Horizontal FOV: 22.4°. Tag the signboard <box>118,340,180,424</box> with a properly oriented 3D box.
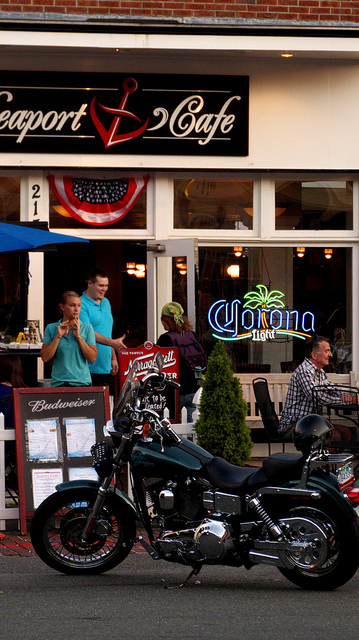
[{"bbox_3d":[-0.244,0.531,7.643,0.530,0.795,0.051,1,-32,-5],"label":"signboard"}]
